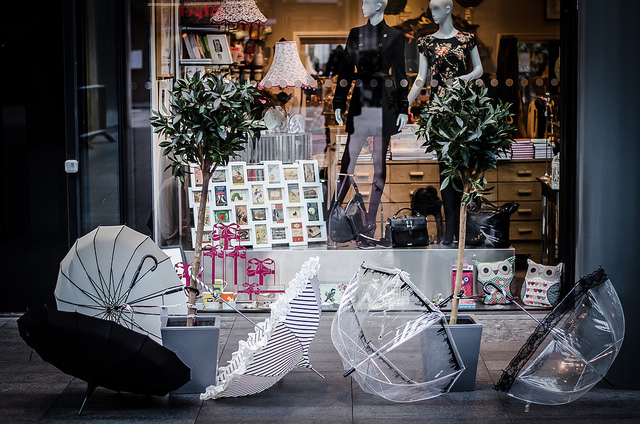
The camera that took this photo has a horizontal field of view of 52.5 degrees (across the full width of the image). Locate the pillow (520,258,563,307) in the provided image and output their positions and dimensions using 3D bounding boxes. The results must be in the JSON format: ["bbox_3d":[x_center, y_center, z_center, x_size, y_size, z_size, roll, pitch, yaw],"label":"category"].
[{"bbox_3d":[2.338,0.757,6.820,0.327,0.494,0.173,7,-10,26],"label":"pillow"}]

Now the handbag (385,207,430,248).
[{"bbox_3d":[0.945,0.202,7.033,0.479,0.322,0.153,0,14,0],"label":"handbag"}]

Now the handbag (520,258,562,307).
[{"bbox_3d":[2.338,0.756,6.824,0.309,0.498,0.231,8,-10,26],"label":"handbag"}]

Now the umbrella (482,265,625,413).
[{"bbox_3d":[2.005,0.937,5.669,1.411,0.967,1.504,16,12,24],"label":"umbrella"}]

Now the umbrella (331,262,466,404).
[{"bbox_3d":[0.598,0.930,5.103,0.999,0.958,0.574,1,14,3],"label":"umbrella"}]

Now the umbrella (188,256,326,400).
[{"bbox_3d":[-0.381,0.943,5.079,0.952,1.085,0.325,-6,14,-19],"label":"umbrella"}]

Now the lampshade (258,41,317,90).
[{"bbox_3d":[-0.382,-1.514,6.863,0.523,0.569,0.425,1,3,16],"label":"lampshade"}]

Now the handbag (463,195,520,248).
[{"bbox_3d":[1.800,0.184,7.162,0.378,0.705,0.644,17,-11,-43],"label":"handbag"}]

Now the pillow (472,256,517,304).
[{"bbox_3d":[1.842,0.734,6.891,0.369,0.470,0.161,-3,1,5],"label":"pillow"}]

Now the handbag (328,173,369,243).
[{"bbox_3d":[0.318,-0.045,7.022,0.419,0.706,0.225,1,13,4],"label":"handbag"}]

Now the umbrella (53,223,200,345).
[{"bbox_3d":[-1.622,0.548,5.200,0.928,1.044,0.326,-27,-6,-34],"label":"umbrella"}]
